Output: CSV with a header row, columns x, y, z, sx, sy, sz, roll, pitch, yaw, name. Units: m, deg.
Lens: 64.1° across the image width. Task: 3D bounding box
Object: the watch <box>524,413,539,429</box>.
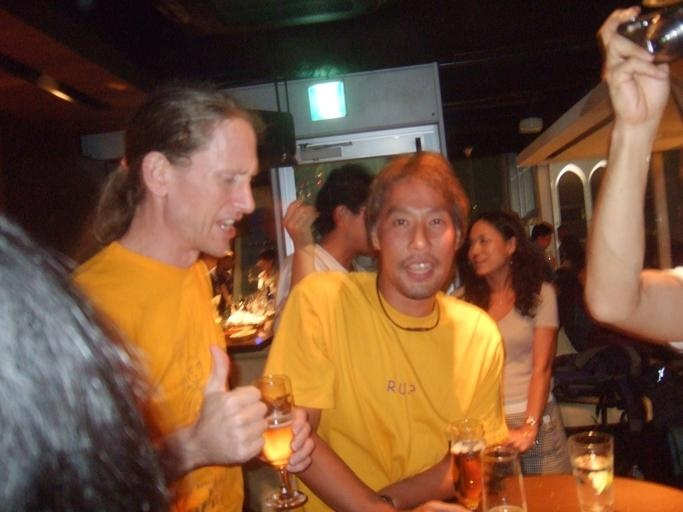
x,y,z,sx,sy,sz,roll,pitch,yaw,name
1.032,0.896,2.943,0.054,0.059,0.058,2,-10,-8,watch
